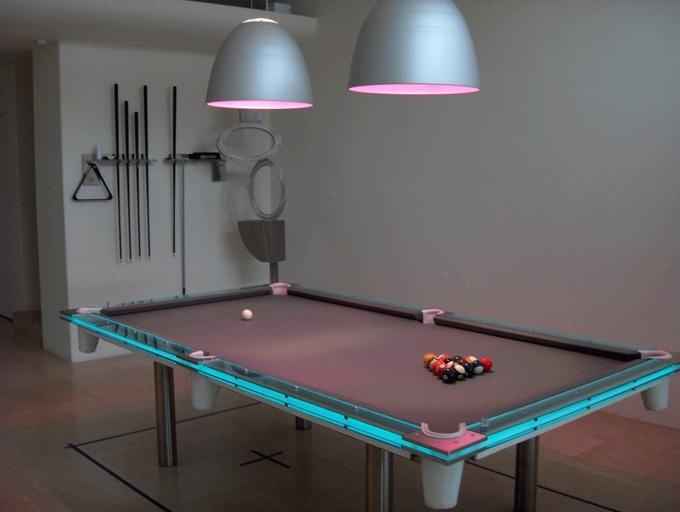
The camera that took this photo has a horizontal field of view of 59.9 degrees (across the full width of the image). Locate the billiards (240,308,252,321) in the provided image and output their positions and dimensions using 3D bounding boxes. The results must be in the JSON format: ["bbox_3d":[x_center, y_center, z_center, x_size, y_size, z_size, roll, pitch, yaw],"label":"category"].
[{"bbox_3d":[-0.520,0.328,3.336,0.062,0.060,0.036,-7,-6,36],"label":"billiards"}]
